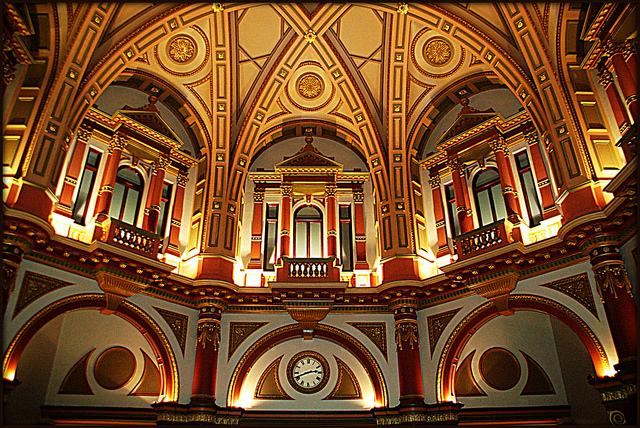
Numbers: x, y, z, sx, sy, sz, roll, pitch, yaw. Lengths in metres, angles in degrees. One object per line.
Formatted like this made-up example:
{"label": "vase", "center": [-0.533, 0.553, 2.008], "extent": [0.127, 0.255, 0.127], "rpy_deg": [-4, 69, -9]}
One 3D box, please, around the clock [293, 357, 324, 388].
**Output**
{"label": "clock", "center": [-0.360, 4.936, 14.110], "extent": [1.054, 1.037, 1.030], "rpy_deg": [-1, 7, -4]}
